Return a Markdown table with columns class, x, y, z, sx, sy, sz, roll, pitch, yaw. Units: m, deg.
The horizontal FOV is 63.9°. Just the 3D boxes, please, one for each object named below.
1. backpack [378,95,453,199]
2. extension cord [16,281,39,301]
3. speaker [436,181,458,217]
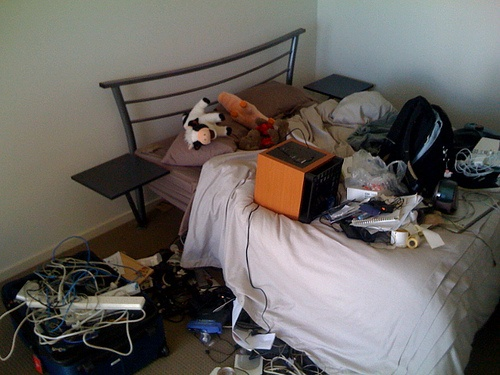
| class | x | y | z | sx | sy | sz | roll | pitch | yaw |
| --- | --- | --- | --- | --- | --- | --- | --- | --- | --- |
| backpack | 1.047 | -0.203 | 2.597 | 0.225 | 0.621 | 0.442 | 10 | 29 | -43 |
| extension cord | -1.227 | 0.571 | 2.220 | 0.094 | 0.023 | 0.092 | 2 | 35 | 9 |
| speaker | 1.150 | 0.057 | 2.353 | 0.110 | 0.203 | 0.151 | 17 | 5 | 37 |
